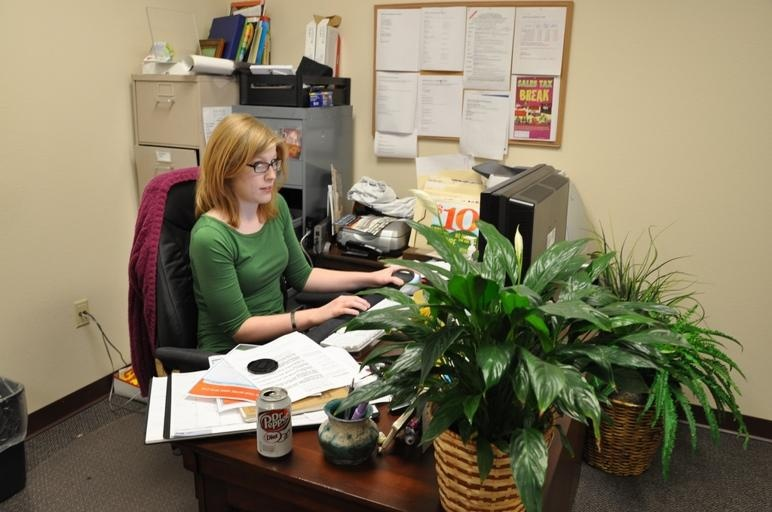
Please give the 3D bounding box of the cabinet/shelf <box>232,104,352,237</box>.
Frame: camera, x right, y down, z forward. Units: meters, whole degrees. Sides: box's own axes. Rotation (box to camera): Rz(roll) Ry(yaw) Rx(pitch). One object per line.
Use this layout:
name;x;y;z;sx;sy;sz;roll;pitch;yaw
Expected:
cabinet/shelf;-0.612;-0.561;3.253;0.526;0.921;0.659;9;25;6

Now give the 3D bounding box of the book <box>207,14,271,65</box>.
book;-0.945;-1.379;3.180;0.389;0.377;0.225;21;23;26

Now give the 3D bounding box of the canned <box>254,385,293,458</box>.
canned;-0.320;0.479;1.425;0.123;0.211;0.123;-6;21;-17

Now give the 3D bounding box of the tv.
tv;0.429;-0.097;1.551;0.146;0.386;0.495;16;30;34

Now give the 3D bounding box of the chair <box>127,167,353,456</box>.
chair;-0.600;0.089;2.477;0.957;1.295;0.875;2;12;15
